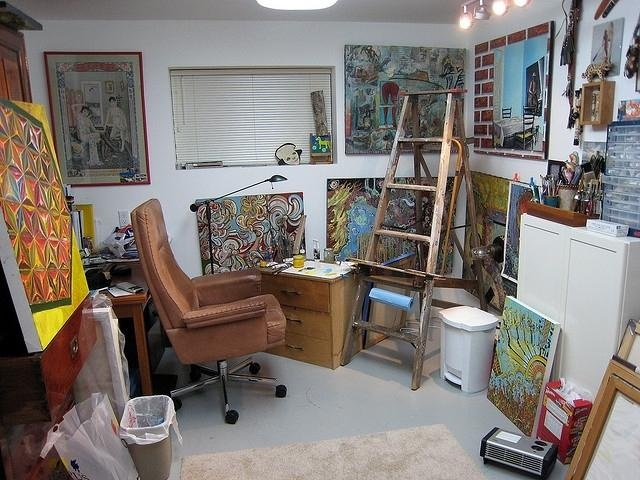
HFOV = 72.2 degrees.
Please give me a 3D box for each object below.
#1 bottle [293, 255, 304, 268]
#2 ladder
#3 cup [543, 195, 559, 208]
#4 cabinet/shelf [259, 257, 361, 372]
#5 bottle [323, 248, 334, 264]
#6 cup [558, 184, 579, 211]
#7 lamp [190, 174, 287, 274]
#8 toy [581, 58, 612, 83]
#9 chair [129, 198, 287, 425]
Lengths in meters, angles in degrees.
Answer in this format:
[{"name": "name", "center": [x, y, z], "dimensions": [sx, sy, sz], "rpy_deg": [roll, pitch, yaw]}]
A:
[{"name": "bottle", "center": [-0.197, 0.193, 3.821], "dimensions": [0.088, 0.096, 0.088], "rpy_deg": [0, 1, -30]}, {"name": "ladder", "center": [0.896, -0.172, 3.895], "dimensions": [1.090, 2.247, 1.765], "rpy_deg": [2, 14, 22]}, {"name": "cup", "center": [1.532, -0.255, 2.911], "dimensions": [0.078, 0.087, 0.074], "rpy_deg": [1, 6, 0]}, {"name": "cabinet/shelf", "center": [-0.112, 0.614, 3.862], "dimensions": [0.737, 0.796, 0.475], "rpy_deg": [6, 14, 28]}, {"name": "bottle", "center": [0.075, 0.148, 3.955], "dimensions": [0.101, 0.125, 0.108], "rpy_deg": [1, 3, -6]}, {"name": "cup", "center": [1.591, -0.272, 2.823], "dimensions": [0.115, 0.152, 0.115], "rpy_deg": [-3, 12, 1]}, {"name": "lamp", "center": [-0.778, -0.135, 4.151], "dimensions": [0.856, 1.152, 0.247], "rpy_deg": [-10, 48, -21]}, {"name": "toy", "center": [1.793, -1.097, 2.860], "dimensions": [0.074, 0.124, 0.220], "rpy_deg": [-4, 13, -5]}, {"name": "chair", "center": [-0.776, 0.474, 3.328], "dimensions": [1.005, 1.543, 0.982], "rpy_deg": [-2, 11, -5]}]
